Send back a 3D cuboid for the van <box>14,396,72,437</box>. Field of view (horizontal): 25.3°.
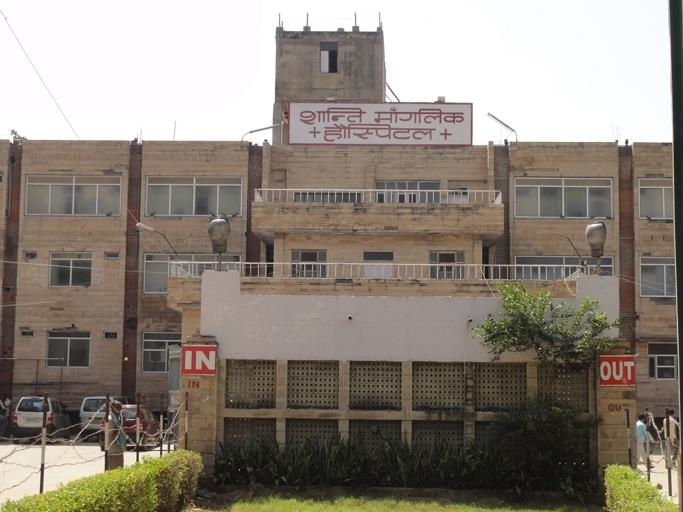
[{"bbox_3d":[-11.967,6.394,60.958,2.056,1.827,3.838,0,-11,-8],"label":"van"}]
